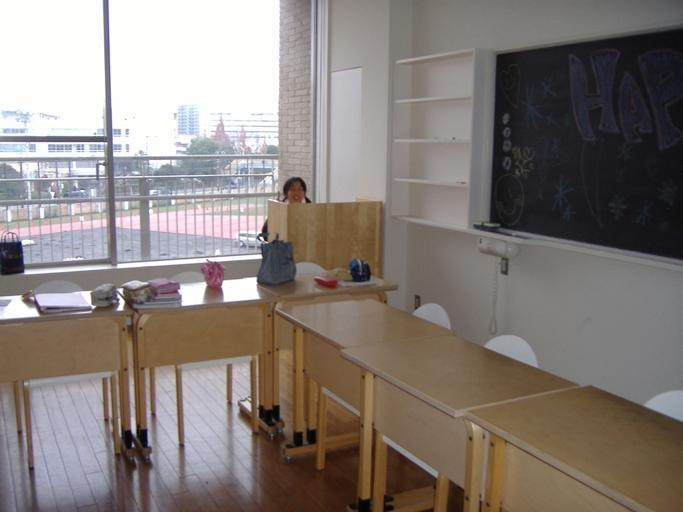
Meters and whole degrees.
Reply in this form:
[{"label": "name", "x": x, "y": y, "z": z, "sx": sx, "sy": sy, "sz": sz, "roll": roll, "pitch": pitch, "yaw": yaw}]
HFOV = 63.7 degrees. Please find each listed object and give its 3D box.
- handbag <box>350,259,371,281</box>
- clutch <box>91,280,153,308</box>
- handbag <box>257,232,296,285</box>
[{"label": "handbag", "x": 0.136, "y": 0.108, "z": 4.391, "sx": 0.166, "sy": 0.183, "sz": 0.131, "roll": -8, "pitch": 12, "yaw": -19}, {"label": "clutch", "x": -1.479, "y": 0.263, "z": 3.685, "sx": 0.268, "sy": 0.086, "sz": 0.207, "roll": -8, "pitch": 13, "yaw": -42}, {"label": "handbag", "x": -0.509, "y": 0.030, "z": 4.308, "sx": 0.175, "sy": 0.376, "sz": 0.356, "roll": 4, "pitch": 9, "yaw": 36}]
